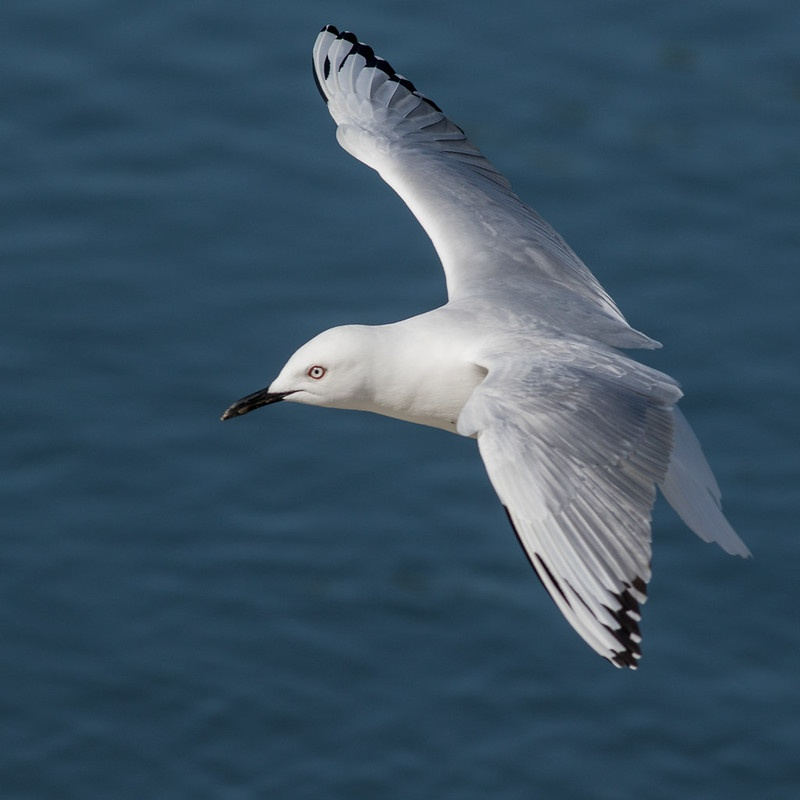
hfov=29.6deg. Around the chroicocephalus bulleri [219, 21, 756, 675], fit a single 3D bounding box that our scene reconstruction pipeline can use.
[{"bbox_3d":[0.151,-0.208,3.389,0.823,1.832,0.592,8,-55,-8],"label":"chroicocephalus bulleri"}]
